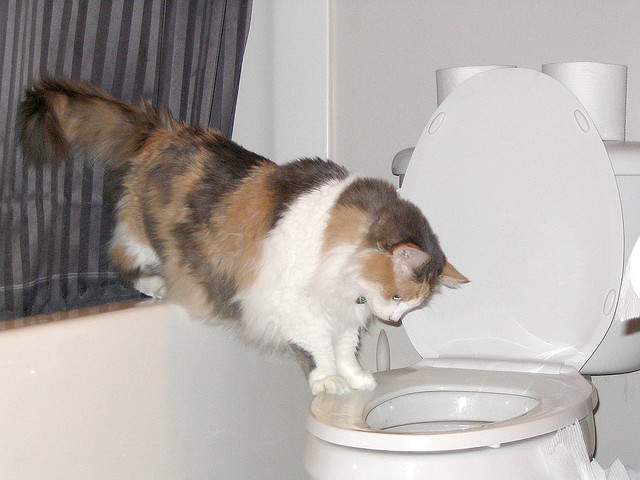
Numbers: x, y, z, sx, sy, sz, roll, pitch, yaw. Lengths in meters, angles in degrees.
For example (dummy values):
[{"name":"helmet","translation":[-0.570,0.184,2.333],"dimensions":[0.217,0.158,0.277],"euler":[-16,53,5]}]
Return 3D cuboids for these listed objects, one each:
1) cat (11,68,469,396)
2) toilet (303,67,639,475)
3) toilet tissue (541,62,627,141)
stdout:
[{"name":"cat","translation":[-0.287,-0.032,1.848],"dimensions":[1.278,0.569,0.360],"euler":[22,25,13]},{"name":"toilet","translation":[0.335,0.040,1.488],"dimensions":[0.552,0.890,0.700],"euler":[0,8,40]},{"name":"toilet tissue","translation":[0.730,-0.380,1.808],"dimensions":[0.194,0.222,0.218],"euler":[-7,11,-35]}]
